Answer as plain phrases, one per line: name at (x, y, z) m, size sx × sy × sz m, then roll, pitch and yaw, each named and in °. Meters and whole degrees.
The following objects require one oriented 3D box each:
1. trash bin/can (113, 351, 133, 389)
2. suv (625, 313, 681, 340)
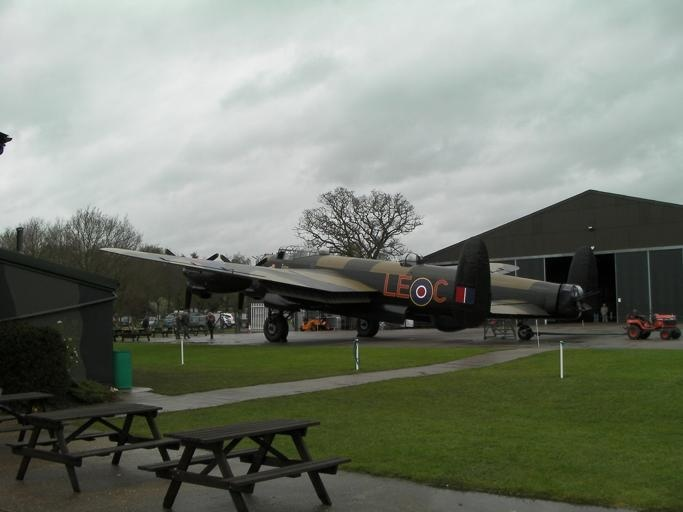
trash bin/can at (-6.344, 3.260, 15.284) m, size 0.486 × 1.088 × 0.809 m, roll 0°, pitch -6°, yaw -23°
suv at (14.791, 3.302, 25.131) m, size 2.445 × 1.253 × 1.816 m, roll 2°, pitch -7°, yaw -38°
